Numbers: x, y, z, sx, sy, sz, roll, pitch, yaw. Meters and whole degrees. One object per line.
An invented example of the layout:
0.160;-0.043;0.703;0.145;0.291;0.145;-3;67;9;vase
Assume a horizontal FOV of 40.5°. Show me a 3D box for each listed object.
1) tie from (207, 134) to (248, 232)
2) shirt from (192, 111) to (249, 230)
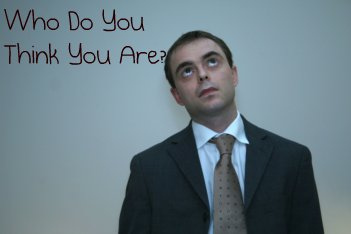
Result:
0.353;0.464;3.306;0.230;0.686;0.082;-6;-11;5;tie
0.325;0.377;3.228;0.322;0.795;0.149;-3;-7;2;shirt
